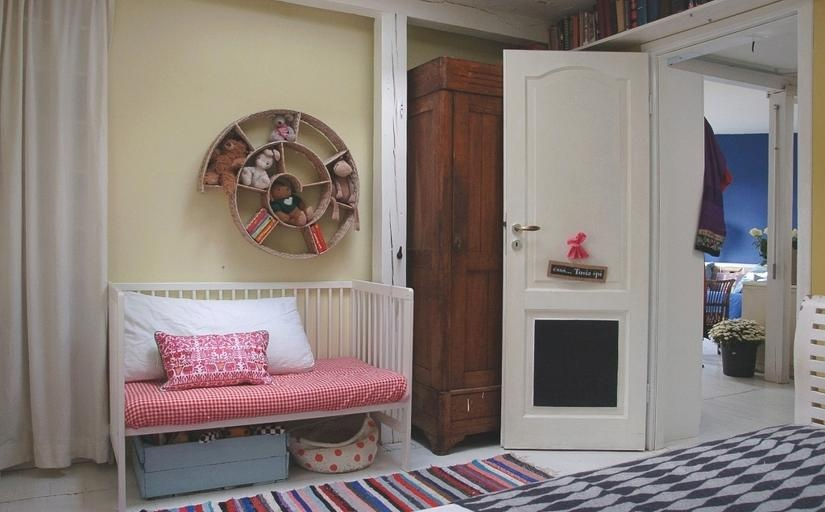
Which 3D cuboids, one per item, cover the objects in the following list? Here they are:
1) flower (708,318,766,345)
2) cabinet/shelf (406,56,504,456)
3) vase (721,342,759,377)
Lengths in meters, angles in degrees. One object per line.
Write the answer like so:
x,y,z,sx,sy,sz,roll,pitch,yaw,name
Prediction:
3.277,0.779,6.439,0.353,0.130,0.341,-2,2,-17,flower
0.314,-0.024,4.619,0.704,2.804,0.797,0,9,-1,cabinet/shelf
3.309,1.044,6.334,0.365,0.284,0.383,1,-6,-2,vase
